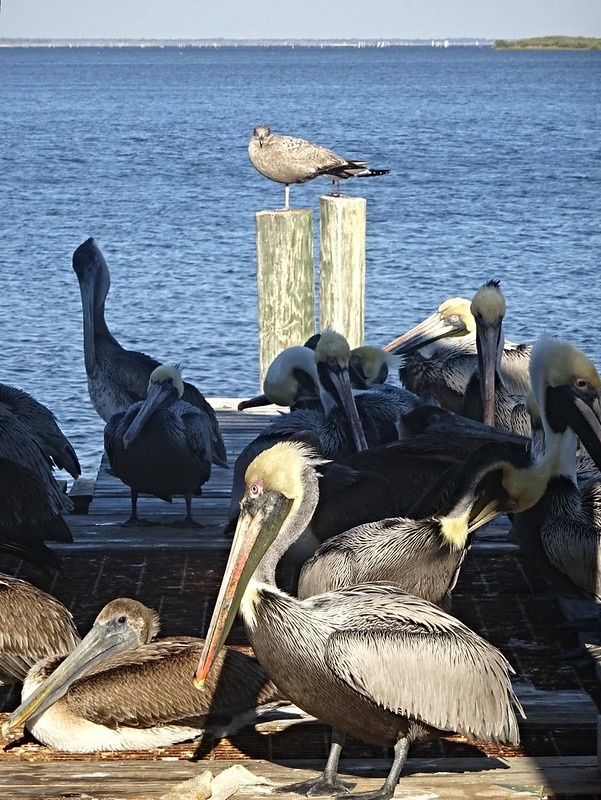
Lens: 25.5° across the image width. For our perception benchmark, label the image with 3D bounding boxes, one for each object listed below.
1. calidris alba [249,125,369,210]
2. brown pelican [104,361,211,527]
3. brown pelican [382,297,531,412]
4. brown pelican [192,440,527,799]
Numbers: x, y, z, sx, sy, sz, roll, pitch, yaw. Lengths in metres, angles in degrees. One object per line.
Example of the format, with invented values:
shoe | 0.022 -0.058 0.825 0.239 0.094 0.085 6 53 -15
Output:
calidris alba | 0.163 -2.158 12.286 1.446 0.796 0.419 -10 21 -33
brown pelican | -0.825 0.266 8.061 0.668 0.884 0.722 -3 10 -21
brown pelican | 1.121 -0.342 9.209 1.074 0.785 0.624 -1 1 2
brown pelican | 0.210 0.752 4.542 1.059 1.187 0.453 2 9 9
